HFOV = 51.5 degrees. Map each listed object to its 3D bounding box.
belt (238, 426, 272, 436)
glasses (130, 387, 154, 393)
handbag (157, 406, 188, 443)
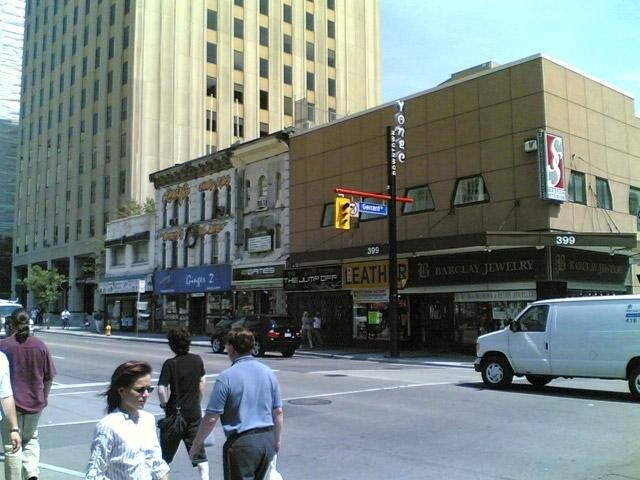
[{"bbox_3d":[-0.774,2.324,8.067,0.404,0.082,0.063,2,-10,-19],"label":"belt"},{"bbox_3d":[-1.960,1.633,7.210,0.141,0.042,0.138,11,-14,-43],"label":"glasses"},{"bbox_3d":[-2.177,2.702,9.652,0.397,0.385,0.289,-3,-13,25],"label":"handbag"}]
